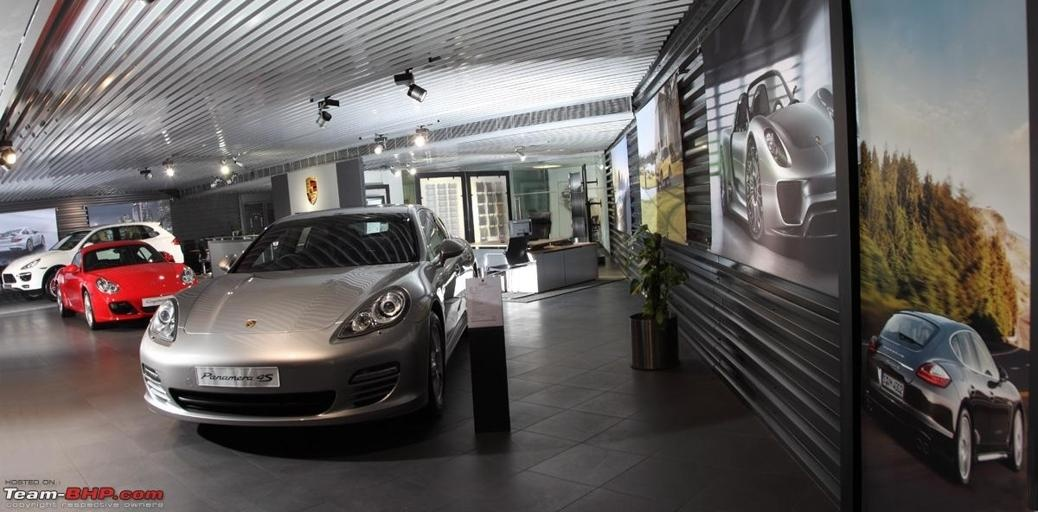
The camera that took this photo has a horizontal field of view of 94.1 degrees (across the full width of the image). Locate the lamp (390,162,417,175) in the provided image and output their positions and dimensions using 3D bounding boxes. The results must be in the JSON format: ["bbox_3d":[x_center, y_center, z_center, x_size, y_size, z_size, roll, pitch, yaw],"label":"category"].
[{"bbox_3d":[-4.407,-3.280,18.185,1.208,0.227,1.038,-1,2,-11],"label":"lamp"}]

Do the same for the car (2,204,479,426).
[{"bbox_3d":[-1.966,0.686,4.958,3.147,1.998,2.150,-14,18,-35],"label":"car"}]

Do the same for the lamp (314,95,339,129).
[{"bbox_3d":[-4.030,-3.024,10.061,0.373,0.611,0.381,15,4,34],"label":"lamp"}]

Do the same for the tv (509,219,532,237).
[{"bbox_3d":[0.020,-0.698,11.688,0.391,0.259,0.690,-2,14,9],"label":"tv"}]

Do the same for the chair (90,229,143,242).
[{"bbox_3d":[-11.232,-0.562,13.403,0.667,0.236,0.372,-4,15,-19],"label":"chair"}]

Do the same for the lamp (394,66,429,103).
[{"bbox_3d":[-1.880,-2.911,8.422,0.402,0.569,0.391,-28,8,14],"label":"lamp"}]
